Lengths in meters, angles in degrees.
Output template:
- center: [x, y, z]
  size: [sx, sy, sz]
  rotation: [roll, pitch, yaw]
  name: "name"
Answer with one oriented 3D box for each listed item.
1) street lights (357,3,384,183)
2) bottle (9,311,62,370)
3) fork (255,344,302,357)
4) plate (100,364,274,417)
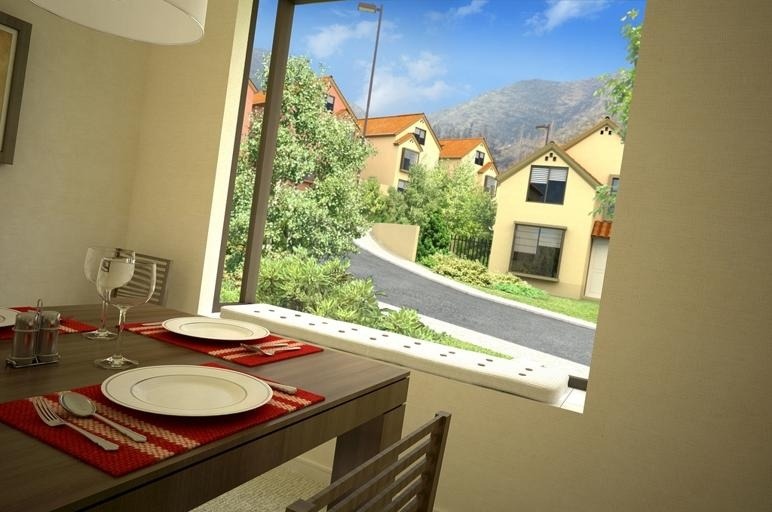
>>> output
- center: [-0.288, -2.916, 7.768]
  size: [0.285, 1.960, 0.700]
  rotation: [8, 2, -4]
  name: "street lights"
- center: [-1.103, 0.273, 1.573]
  size: [0.172, 0.205, 0.089]
  rotation: [4, -3, -39]
  name: "bottle"
- center: [-0.412, 0.357, 1.924]
  size: [0.053, 0.007, 0.147]
  rotation: [17, 8, 32]
  name: "fork"
- center: [-0.583, 0.401, 1.490]
  size: [0.476, 0.101, 0.246]
  rotation: [8, 1, -7]
  name: "plate"
